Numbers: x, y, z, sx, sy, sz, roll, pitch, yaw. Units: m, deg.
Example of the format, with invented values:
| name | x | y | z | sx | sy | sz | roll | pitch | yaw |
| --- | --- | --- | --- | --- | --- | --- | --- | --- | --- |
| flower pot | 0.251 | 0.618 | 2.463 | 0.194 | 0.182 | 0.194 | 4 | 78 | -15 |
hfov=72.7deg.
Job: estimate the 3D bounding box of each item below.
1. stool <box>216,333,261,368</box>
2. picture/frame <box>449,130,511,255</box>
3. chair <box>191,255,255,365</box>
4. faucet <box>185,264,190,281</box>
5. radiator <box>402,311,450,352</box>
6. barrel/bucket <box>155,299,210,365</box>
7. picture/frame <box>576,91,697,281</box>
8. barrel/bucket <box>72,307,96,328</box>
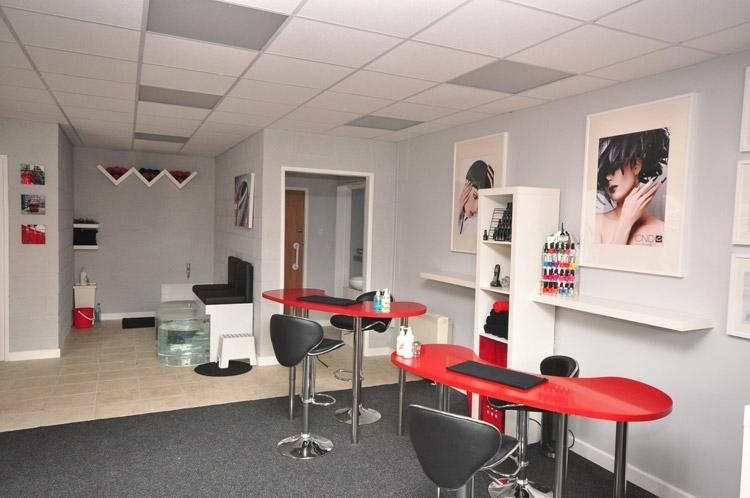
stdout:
| name | x | y | z | sx | sy | sz | roll | pitch | yaw |
| --- | --- | --- | --- | --- | --- | --- | --- | --- | --- |
| stool | -1.881 | 1.477 | 7.247 | 0.731 | 0.524 | 0.588 | 5 | -1 | -29 |
| picture/frame | 1.251 | -0.653 | 6.169 | 0.052 | 1.426 | 1.069 | -1 | 5 | -23 |
| chair | -2.375 | 0.775 | 7.928 | 0.704 | 1.312 | 1.470 | -2 | 7 | -27 |
| faucet | -3.563 | 0.418 | 9.739 | 0.087 | 0.317 | 0.076 | -2 | 10 | -21 |
| radiator | 0.589 | 0.921 | 5.729 | 0.184 | 0.510 | 0.545 | -5 | 8 | -40 |
| barrel/bucket | -2.713 | 1.194 | 7.239 | 0.632 | 0.580 | 0.915 | 1 | 4 | -15 |
| picture/frame | 2.355 | -0.541 | 4.681 | 1.080 | 1.525 | 0.062 | -2 | 7 | -9 |
| barrel/bucket | -4.970 | 1.151 | 8.779 | 0.361 | 0.300 | 0.349 | -2 | 4 | 0 |
